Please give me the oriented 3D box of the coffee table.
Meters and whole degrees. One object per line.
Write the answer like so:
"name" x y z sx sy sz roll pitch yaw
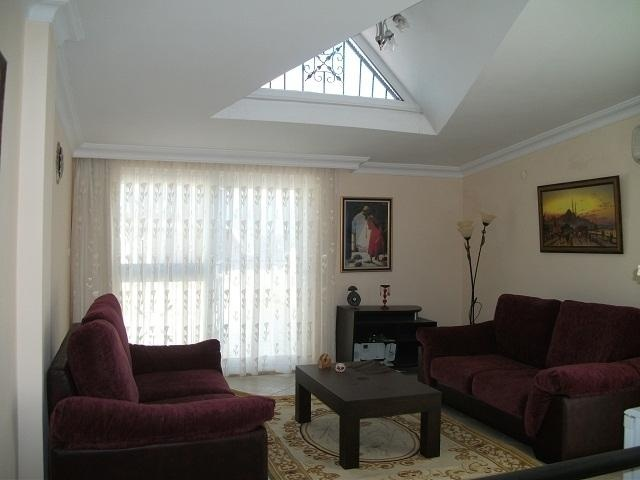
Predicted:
"coffee table" 0.390 1.431 4.123 0.900 0.529 1.178 -1 1 -27

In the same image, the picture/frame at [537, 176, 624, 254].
"picture/frame" 2.650 -0.255 4.823 0.030 0.725 0.779 -1 0 -21

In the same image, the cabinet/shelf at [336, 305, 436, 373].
"cabinet/shelf" 0.754 1.493 6.224 1.310 1.034 0.711 1 -4 -15
